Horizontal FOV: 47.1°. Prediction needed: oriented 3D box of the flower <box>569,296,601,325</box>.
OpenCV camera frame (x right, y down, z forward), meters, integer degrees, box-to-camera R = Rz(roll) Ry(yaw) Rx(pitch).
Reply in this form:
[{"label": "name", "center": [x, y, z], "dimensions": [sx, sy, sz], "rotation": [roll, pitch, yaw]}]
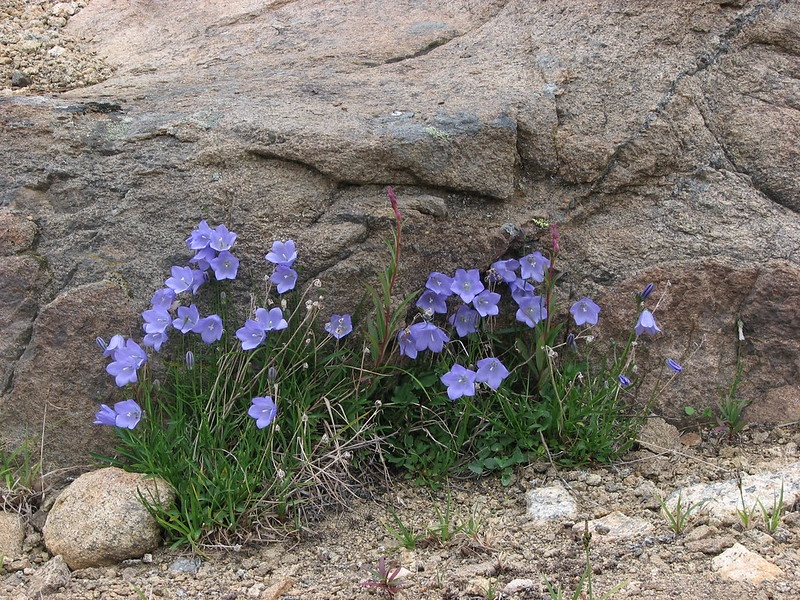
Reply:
[{"label": "flower", "center": [1.114, 0.057, 5.596], "dimensions": [0.148, 0.174, 0.079], "rotation": [-20, 9, 14]}]
